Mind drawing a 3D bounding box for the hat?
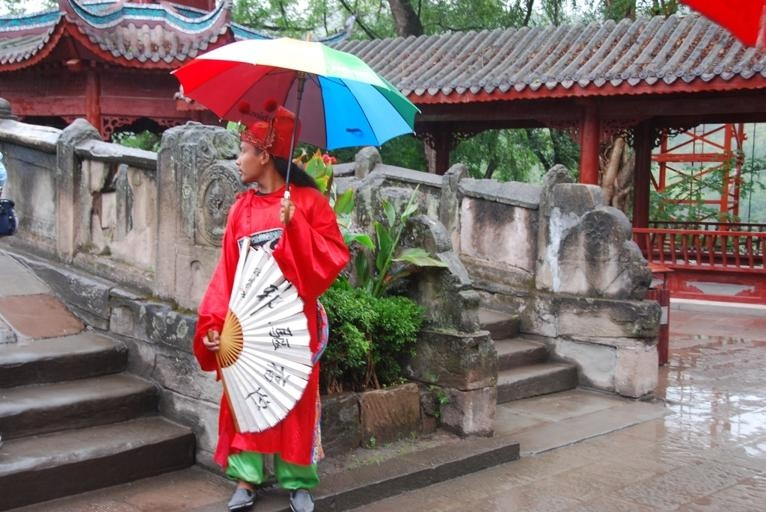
[{"bbox_3d":[-0.910,-0.999,6.046,0.509,0.397,0.379,24,12,19],"label":"hat"}]

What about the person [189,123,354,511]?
[{"bbox_3d":[-0.867,0.516,6.064,1.197,3.179,0.478,-1,3,-4],"label":"person"}]
